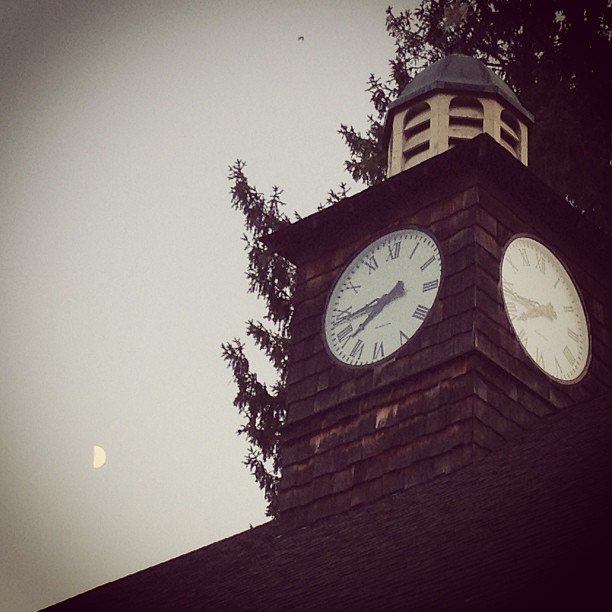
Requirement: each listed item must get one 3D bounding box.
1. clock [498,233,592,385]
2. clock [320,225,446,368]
[{"bbox_3d":[2.667,0.096,13.976,0.069,1.397,1.190,-28,-64,31],"label":"clock"},{"bbox_3d":[0.878,-0.036,14.345,1.696,1.940,0.102,-20,-43,36],"label":"clock"}]
